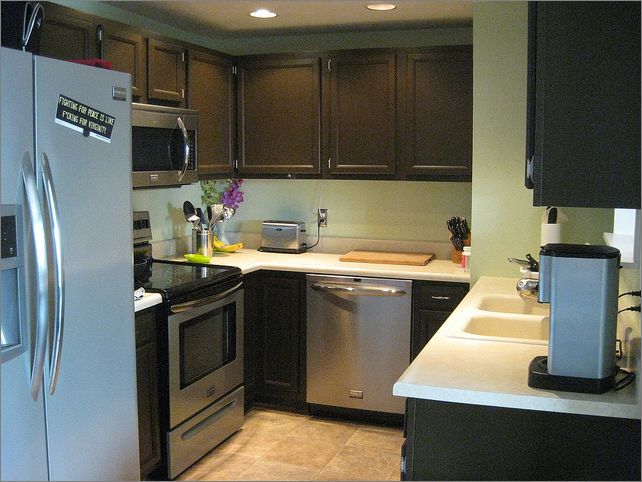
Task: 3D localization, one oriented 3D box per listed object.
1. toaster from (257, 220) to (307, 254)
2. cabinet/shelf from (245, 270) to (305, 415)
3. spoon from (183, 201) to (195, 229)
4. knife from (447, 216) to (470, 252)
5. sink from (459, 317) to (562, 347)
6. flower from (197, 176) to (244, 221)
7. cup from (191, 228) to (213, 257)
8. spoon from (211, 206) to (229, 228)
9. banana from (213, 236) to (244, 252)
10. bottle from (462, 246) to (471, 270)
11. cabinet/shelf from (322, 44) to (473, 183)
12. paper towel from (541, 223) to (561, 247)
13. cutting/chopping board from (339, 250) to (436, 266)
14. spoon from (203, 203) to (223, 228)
[{"bbox_3d":[-0.292,-0.031,4.010,0.337,0.251,0.217,2,2,25],"label":"toaster"},{"bbox_3d":[-0.324,0.704,3.555,0.439,0.992,0.177,1,8,-7],"label":"cabinet/shelf"},{"bbox_3d":[-0.941,-0.184,3.625,0.087,0.197,0.332,0,8,-16],"label":"spoon"},{"bbox_3d":[0.951,-0.061,3.526,0.133,0.250,0.059,3,14,12],"label":"knife"},{"bbox_3d":[0.814,0.392,2.234,0.240,0.098,0.187,2,6,20],"label":"sink"},{"bbox_3d":[-0.799,-0.345,4.108,0.290,0.268,0.148,-9,-6,-6],"label":"flower"},{"bbox_3d":[-0.828,0.009,3.530,0.136,0.189,0.230,0,8,-16],"label":"cup"},{"bbox_3d":[-0.765,-0.192,3.810,0.161,0.172,0.104,4,3,-28],"label":"spoon"},{"bbox_3d":[-0.745,0.031,3.998,0.276,0.188,0.092,0,6,-15],"label":"banana"},{"bbox_3d":[0.952,0.113,3.363,0.035,0.144,0.155,3,8,9],"label":"bottle"},{"bbox_3d":[0.552,-0.878,3.679,1.087,0.942,0.418,0,7,-1],"label":"cabinet/shelf"},{"bbox_3d":[1.124,-0.033,2.484,0.097,0.164,0.101,2,10,20],"label":"paper towel"},{"bbox_3d":[0.472,0.122,3.664,0.651,0.055,0.394,4,8,14],"label":"cutting/chopping board"},{"bbox_3d":[-0.812,-0.199,3.816,0.080,0.081,0.326,31,4,-3],"label":"spoon"}]
